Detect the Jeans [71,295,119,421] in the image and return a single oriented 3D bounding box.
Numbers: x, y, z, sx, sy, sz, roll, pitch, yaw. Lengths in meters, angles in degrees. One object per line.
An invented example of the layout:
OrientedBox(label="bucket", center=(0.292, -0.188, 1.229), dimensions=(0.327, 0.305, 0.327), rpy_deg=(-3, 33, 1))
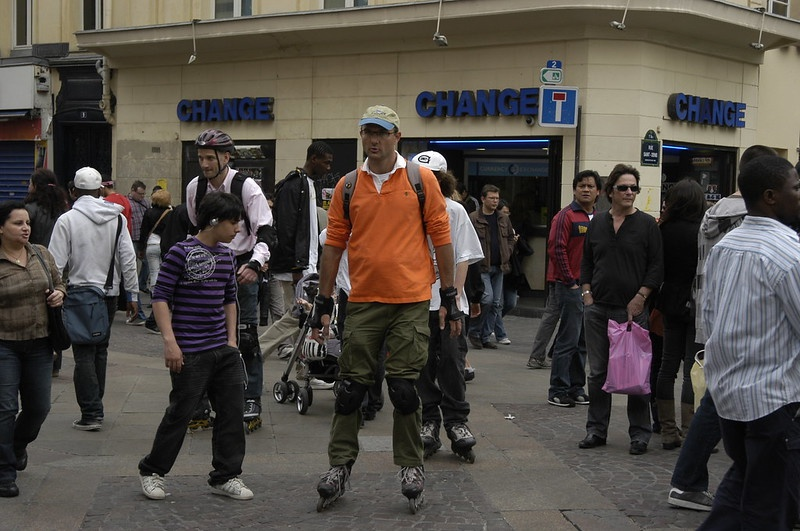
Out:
OrientedBox(label="Jeans", center=(-3.175, 1.160, 9.140), dimensions=(0.338, 0.893, 0.485), rpy_deg=(-1, 7, -16))

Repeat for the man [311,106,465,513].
OrientedBox(label="man", center=(-0.131, 0.322, 7.707), dimensions=(1.356, 3.403, 0.961), rpy_deg=(0, -3, -14))

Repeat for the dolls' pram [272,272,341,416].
OrientedBox(label="dolls' pram", center=(-1.036, 0.820, 9.880), dimensions=(0.828, 1.330, 0.732), rpy_deg=(7, -2, 25))

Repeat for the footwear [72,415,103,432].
OrientedBox(label="footwear", center=(-3.162, 1.576, 8.983), dimensions=(0.279, 0.139, 0.202), rpy_deg=(-1, 7, -16))

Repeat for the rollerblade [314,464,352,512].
OrientedBox(label="rollerblade", center=(-0.538, 1.803, 7.304), dimensions=(0.140, 0.336, 0.339), rpy_deg=(6, 9, 39))

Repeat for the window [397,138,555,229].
OrientedBox(label="window", center=(1.403, -1.347, 14.102), dimensions=(2.166, 2.089, 0.739), rpy_deg=(0, -3, 17))

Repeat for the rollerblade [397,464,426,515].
OrientedBox(label="rollerblade", center=(0.102, 1.824, 7.311), dimensions=(0.187, 0.322, 0.256), rpy_deg=(1, 7, 0))

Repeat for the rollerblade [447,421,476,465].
OrientedBox(label="rollerblade", center=(0.581, 1.636, 8.249), dimensions=(0.153, 0.229, 0.466), rpy_deg=(-1, -1, -16))

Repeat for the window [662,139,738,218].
OrientedBox(label="window", center=(6.223, -1.853, 18.750), dimensions=(1.629, 1.540, 0.612), rpy_deg=(1, 17, 1))

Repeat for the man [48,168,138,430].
OrientedBox(label="man", center=(-3.280, 0.288, 9.475), dimensions=(1.016, 2.672, 0.833), rpy_deg=(1, -7, -23))
